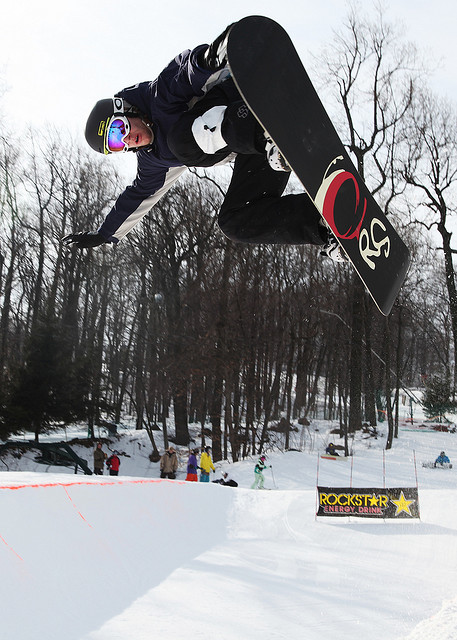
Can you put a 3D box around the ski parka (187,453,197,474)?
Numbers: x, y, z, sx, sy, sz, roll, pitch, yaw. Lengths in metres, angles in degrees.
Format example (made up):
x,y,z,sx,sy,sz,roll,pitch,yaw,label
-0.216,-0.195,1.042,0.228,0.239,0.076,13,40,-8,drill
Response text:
x,y,z,sx,sy,sz,roll,pitch,yaw,label
-0.720,2.813,12.628,0.152,0.404,0.270,6,-8,3,ski parka

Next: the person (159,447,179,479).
x,y,z,sx,sy,sz,roll,pitch,yaw,label
-1.244,2.961,13.328,0.337,0.655,0.797,7,-8,-4,person

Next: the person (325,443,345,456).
x,y,z,sx,sy,sz,roll,pitch,yaw,label
3.051,3.693,18.486,0.408,0.311,0.940,4,-9,20,person

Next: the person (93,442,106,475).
x,y,z,sx,sy,sz,roll,pitch,yaw,label
-3.013,3.209,14.897,0.240,0.681,0.735,8,-8,-11,person

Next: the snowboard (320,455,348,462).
x,y,z,sx,sy,sz,roll,pitch,yaw,label
2.837,3.702,17.351,0.785,0.122,0.444,-2,-12,45,snowboard

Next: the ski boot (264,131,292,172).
x,y,z,sx,sy,sz,roll,pitch,yaw,label
0.255,-0.913,3.588,0.121,0.095,0.162,22,9,-26,ski boot

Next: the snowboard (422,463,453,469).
x,y,z,sx,sy,sz,roll,pitch,yaw,label
5.384,3.735,16.598,0.738,0.173,0.437,3,-9,24,snowboard

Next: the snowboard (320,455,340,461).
x,y,z,sx,sy,sz,roll,pitch,yaw,label
2.730,3.688,17.370,0.366,0.115,0.731,8,-8,-12,snowboard

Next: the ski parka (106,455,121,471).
x,y,z,sx,sy,sz,roll,pitch,yaw,label
-2.529,3.252,14.070,0.310,0.555,0.561,-3,-9,-10,ski parka

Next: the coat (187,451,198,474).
x,y,z,sx,sy,sz,roll,pitch,yaw,label
-0.719,2.809,12.653,0.151,0.395,0.319,6,-8,4,coat

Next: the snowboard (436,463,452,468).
x,y,z,sx,sy,sz,roll,pitch,yaw,label
5.522,3.734,16.574,0.217,0.099,0.177,-2,-5,42,snowboard

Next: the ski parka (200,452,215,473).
x,y,z,sx,sy,sz,roll,pitch,yaw,label
-0.490,3.021,13.756,0.258,0.407,0.629,7,-8,-2,ski parka

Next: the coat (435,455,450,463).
x,y,z,sx,sy,sz,roll,pitch,yaw,label
5.539,3.597,16.642,0.293,0.227,0.165,-6,-29,19,coat

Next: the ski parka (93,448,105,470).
x,y,z,sx,sy,sz,roll,pitch,yaw,label
-2.988,3.161,14.754,0.237,0.445,0.438,8,-8,-11,ski parka

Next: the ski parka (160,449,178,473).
x,y,z,sx,sy,sz,roll,pitch,yaw,label
-1.246,2.912,13.375,0.298,0.474,0.413,6,-8,0,ski parka
